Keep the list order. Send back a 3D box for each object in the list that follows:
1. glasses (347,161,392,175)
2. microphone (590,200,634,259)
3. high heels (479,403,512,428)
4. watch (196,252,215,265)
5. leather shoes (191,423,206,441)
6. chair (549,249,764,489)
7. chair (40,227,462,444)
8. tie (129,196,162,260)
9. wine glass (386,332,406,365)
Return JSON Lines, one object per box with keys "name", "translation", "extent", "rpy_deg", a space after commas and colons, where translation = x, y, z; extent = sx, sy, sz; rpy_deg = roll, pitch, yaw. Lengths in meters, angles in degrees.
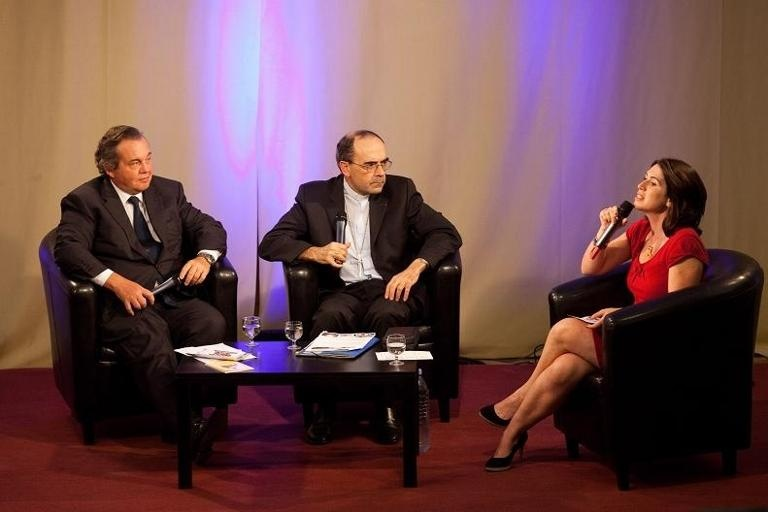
{"name": "glasses", "translation": [-0.093, -0.550, 3.968], "extent": [0.220, 0.079, 0.080], "rpy_deg": [-3, 13, -9]}
{"name": "microphone", "translation": [1.168, -0.132, 3.483], "extent": [0.107, 0.415, 0.113], "rpy_deg": [35, 15, 7]}
{"name": "high heels", "translation": [0.583, 0.828, 3.424], "extent": [0.096, 0.058, 0.161], "rpy_deg": [15, 12, -26]}
{"name": "watch", "translation": [-1.048, 0.011, 3.807], "extent": [0.077, 0.056, 0.077], "rpy_deg": [12, 13, 43]}
{"name": "leather shoes", "translation": [-1.001, 0.947, 3.489], "extent": [0.083, 0.112, 0.102], "rpy_deg": [3, -8, -11]}
{"name": "chair", "translation": [1.382, 0.404, 3.580], "extent": [1.051, 1.204, 1.138], "rpy_deg": [-2, 5, -18]}
{"name": "chair", "translation": [-1.188, 0.501, 3.989], "extent": [2.280, 1.050, 1.196], "rpy_deg": [-1, -1, -12]}
{"name": "tie", "translation": [-1.419, -0.145, 3.899], "extent": [0.111, 0.482, 0.112], "rpy_deg": [-17, 8, -13]}
{"name": "wine glass", "translation": [0.046, 0.452, 3.069], "extent": [0.115, 0.175, 0.116], "rpy_deg": [0, -4, -3]}
